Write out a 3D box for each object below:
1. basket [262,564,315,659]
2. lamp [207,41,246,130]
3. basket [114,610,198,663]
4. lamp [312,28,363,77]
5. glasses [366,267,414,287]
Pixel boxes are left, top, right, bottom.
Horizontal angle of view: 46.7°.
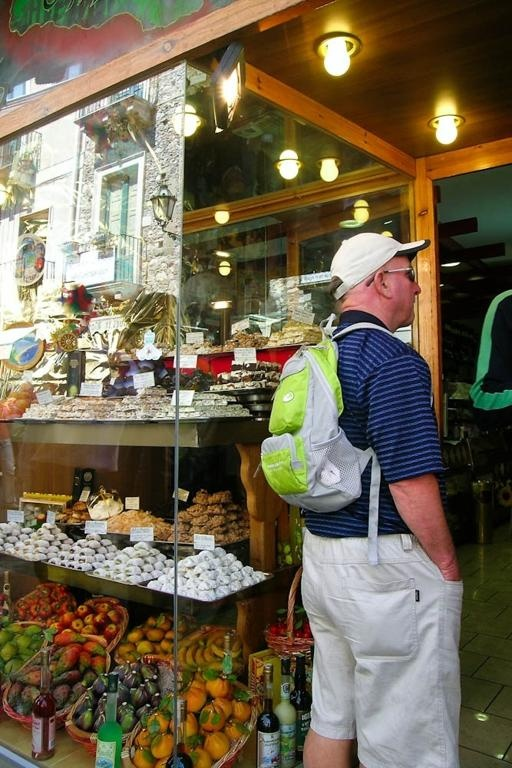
[{"bbox_3d":[0.153,0.814,2.210,0.202,0.338,0.186,2,4,-43],"label":"basket"},{"bbox_3d":[-0.099,-1.007,2.033,0.062,0.234,0.260,13,25,18],"label":"lamp"},{"bbox_3d":[-0.381,0.906,2.097,0.314,0.124,0.337,-16,-14,-32],"label":"basket"},{"bbox_3d":[0.318,-1.269,2.310,0.151,0.139,0.149,4,7,14],"label":"lamp"},{"bbox_3d":[0.364,-0.299,1.609,0.099,0.029,0.071,-7,4,-19],"label":"glasses"}]
